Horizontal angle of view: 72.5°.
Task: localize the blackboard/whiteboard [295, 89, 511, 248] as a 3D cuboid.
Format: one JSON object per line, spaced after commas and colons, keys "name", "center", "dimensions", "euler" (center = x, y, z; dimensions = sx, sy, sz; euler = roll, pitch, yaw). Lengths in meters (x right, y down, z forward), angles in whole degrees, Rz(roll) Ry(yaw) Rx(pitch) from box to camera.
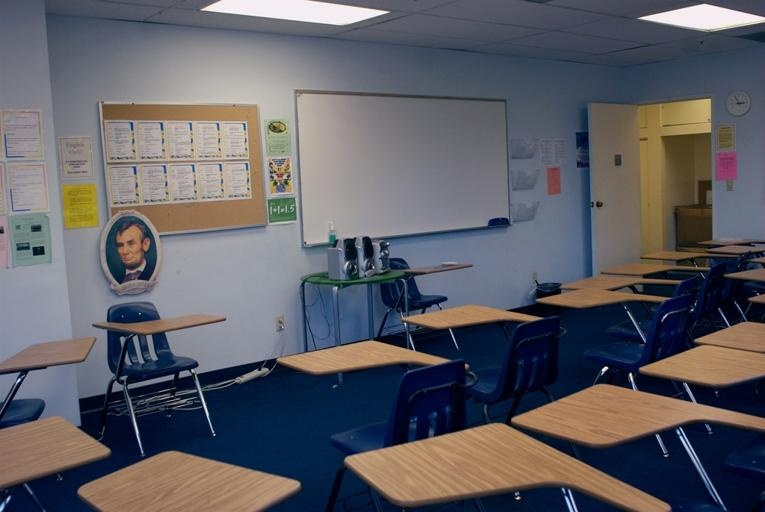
{"name": "blackboard/whiteboard", "center": [0.164, -1.119, 6.579], "dimensions": [2.261, 1.258, 0.046], "euler": [-5, 5, -33]}
